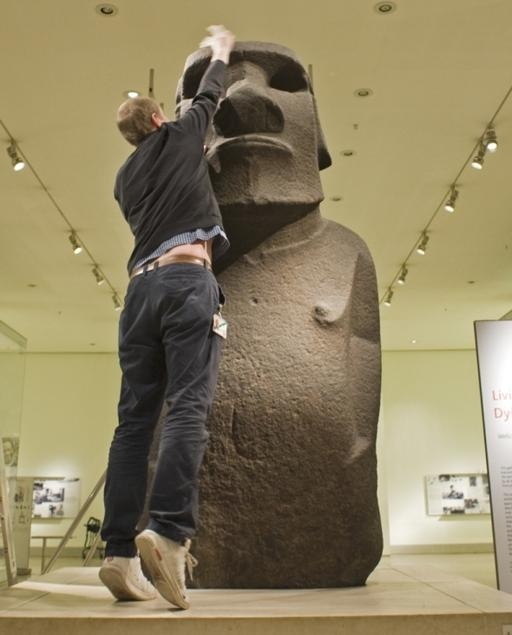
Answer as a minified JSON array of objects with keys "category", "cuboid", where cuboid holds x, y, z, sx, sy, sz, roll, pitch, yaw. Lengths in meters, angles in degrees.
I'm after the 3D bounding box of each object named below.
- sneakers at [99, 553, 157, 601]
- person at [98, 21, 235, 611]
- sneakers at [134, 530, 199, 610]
[{"category":"sneakers","cuboid":[-0.326,0.690,1.610,0.081,0.099,0.195,-17,-51,19]},{"category":"person","cuboid":[-0.239,-0.198,1.750,0.352,1.903,0.449,3,-16,-11]},{"category":"sneakers","cuboid":[-0.208,0.587,1.424,0.117,0.196,0.264,0,-15,-2]}]
